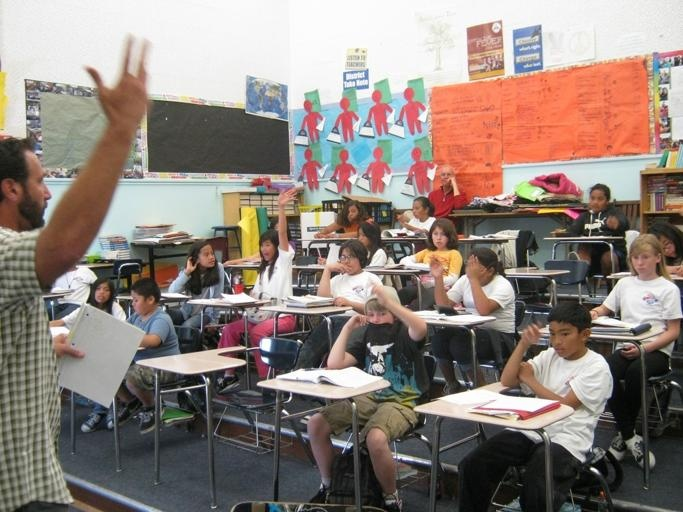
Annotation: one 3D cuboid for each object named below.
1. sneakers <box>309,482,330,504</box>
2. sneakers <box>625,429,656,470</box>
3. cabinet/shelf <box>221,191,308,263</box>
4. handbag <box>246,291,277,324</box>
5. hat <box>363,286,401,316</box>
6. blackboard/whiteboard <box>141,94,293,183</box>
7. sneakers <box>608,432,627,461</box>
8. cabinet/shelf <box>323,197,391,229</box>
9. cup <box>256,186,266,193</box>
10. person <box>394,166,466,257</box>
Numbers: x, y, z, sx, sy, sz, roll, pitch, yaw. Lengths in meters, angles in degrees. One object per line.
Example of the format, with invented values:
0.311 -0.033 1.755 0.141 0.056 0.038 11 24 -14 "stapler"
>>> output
-0.098 1.137 2.752 0.091 0.066 0.183 -5 6 -5 "sneakers"
1.602 1.052 3.116 0.087 0.114 0.270 -35 3 4 "sneakers"
-1.059 -0.381 7.459 0.396 0.962 1.038 -1 5 41 "cabinet/shelf"
-0.669 0.421 4.879 0.205 0.260 0.114 3 5 13 "handbag"
0.206 0.223 3.119 0.149 0.173 0.195 -3 15 21 "hat"
-1.822 -1.770 8.531 2.403 1.102 0.024 6 12 16 "blackboard/whiteboard"
1.536 1.046 3.194 0.087 0.152 0.319 -2 6 25 "sneakers"
0.295 -0.673 8.192 0.670 0.396 0.632 -2 1 -41 "cabinet/shelf"
-1.207 -1.011 8.703 0.111 0.079 0.107 -2 0 0 "cup"
1.250 -0.407 7.458 0.670 1.363 0.440 8 -15 -11 "person"
